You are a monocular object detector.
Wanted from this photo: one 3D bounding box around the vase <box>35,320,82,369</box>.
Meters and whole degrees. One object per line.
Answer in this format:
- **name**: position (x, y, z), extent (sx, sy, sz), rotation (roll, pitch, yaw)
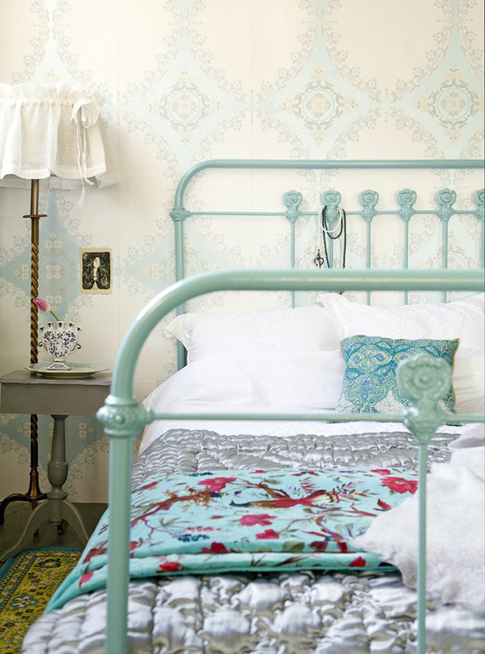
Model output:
- **vase**: position (-0.601, 0.059, 2.200), extent (0.186, 0.176, 0.066), rotation (1, -1, -8)
